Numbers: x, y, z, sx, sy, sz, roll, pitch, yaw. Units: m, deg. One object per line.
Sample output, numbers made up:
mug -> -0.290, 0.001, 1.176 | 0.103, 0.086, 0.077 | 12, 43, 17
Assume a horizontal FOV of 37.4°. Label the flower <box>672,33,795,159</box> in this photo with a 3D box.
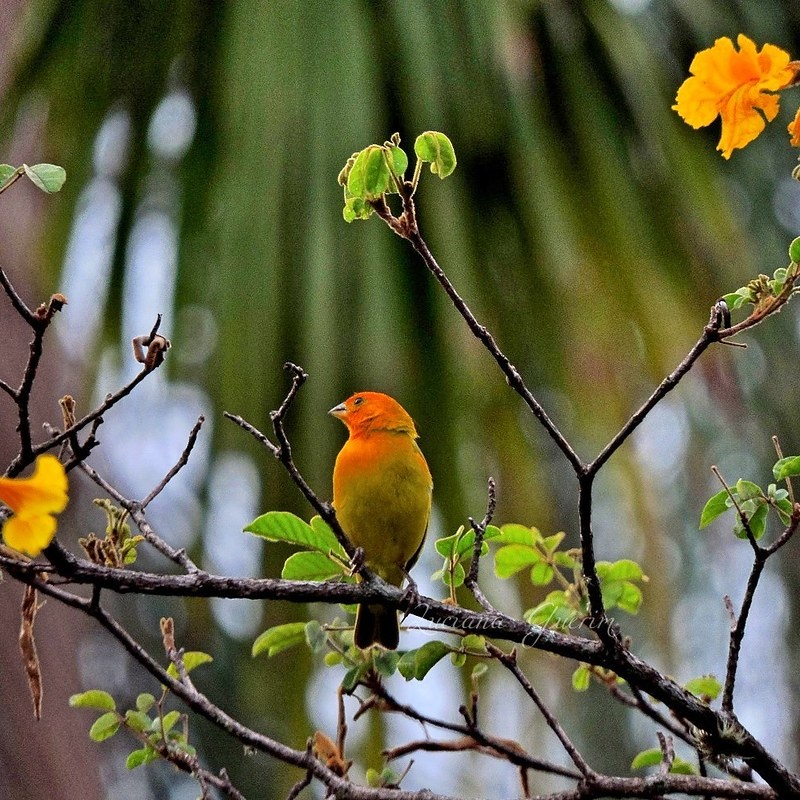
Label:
flower -> 0.973, -0.886, 3.392 | 0.365, 0.349, 0.181 | 7, 26, 38
